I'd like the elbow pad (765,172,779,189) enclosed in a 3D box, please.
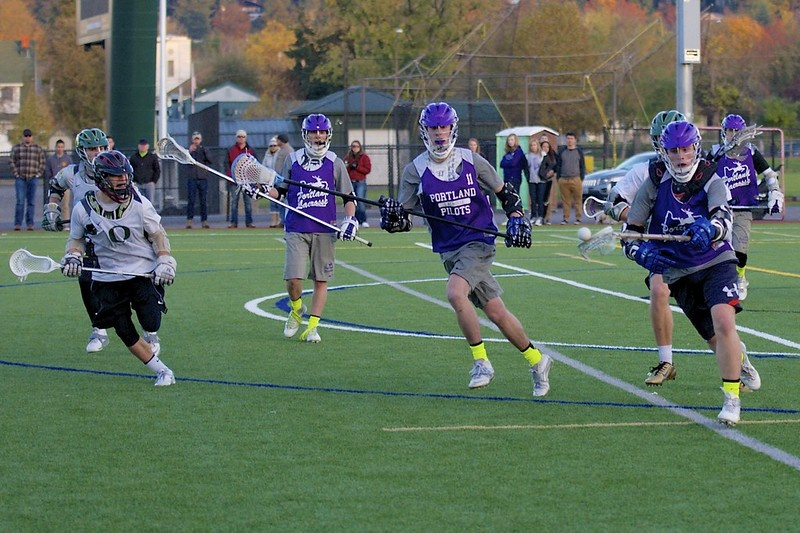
[{"bbox_3d":[4.638,-1.052,14.204,0.153,0.250,0.107,-18,-30,24],"label":"elbow pad"}]

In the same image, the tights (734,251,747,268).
[{"bbox_3d":[3.828,-0.086,12.828,0.145,0.200,0.073,17,-3,-9],"label":"tights"}]

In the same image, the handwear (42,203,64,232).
[{"bbox_3d":[-3.901,-0.559,12.835,0.270,0.402,0.189,-1,-27,-4],"label":"handwear"}]

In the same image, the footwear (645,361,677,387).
[{"bbox_3d":[2.470,1.027,10.787,0.141,0.170,0.386,-3,4,45],"label":"footwear"}]

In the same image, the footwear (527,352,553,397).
[{"bbox_3d":[1.335,1.012,10.627,0.218,0.366,0.211,-3,11,-15],"label":"footwear"}]

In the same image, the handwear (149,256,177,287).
[{"bbox_3d":[-2.225,0.055,10.760,0.188,0.308,0.120,8,-27,-30],"label":"handwear"}]

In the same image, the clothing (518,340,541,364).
[{"bbox_3d":[1.248,0.837,10.702,0.224,0.145,0.228,46,2,12],"label":"clothing"}]

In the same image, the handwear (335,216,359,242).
[{"bbox_3d":[-0.556,-0.394,12.247,0.164,0.113,0.265,4,38,-9],"label":"handwear"}]

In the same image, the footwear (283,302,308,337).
[{"bbox_3d":[-1.199,0.626,13.086,0.149,0.408,0.159,6,-42,13],"label":"footwear"}]

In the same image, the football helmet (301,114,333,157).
[{"bbox_3d":[-0.952,-1.500,13.113,0.351,0.455,0.474,-1,3,-5],"label":"football helmet"}]

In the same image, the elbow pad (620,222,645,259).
[{"bbox_3d":[2.092,-0.240,10.266,0.131,0.306,0.237,-11,-10,6],"label":"elbow pad"}]

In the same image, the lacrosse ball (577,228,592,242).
[{"bbox_3d":[1.655,-0.272,10.176,0.112,0.144,0.304,2,11,9],"label":"lacrosse ball"}]

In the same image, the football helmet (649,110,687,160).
[{"bbox_3d":[2.403,-1.242,10.456,0.363,0.437,0.459,0,-2,12],"label":"football helmet"}]

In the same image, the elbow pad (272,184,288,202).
[{"bbox_3d":[-1.354,-0.848,13.099,0.112,0.194,0.087,8,-7,-2],"label":"elbow pad"}]

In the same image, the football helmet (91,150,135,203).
[{"bbox_3d":[-2.687,-0.864,10.655,0.345,0.423,0.435,-14,18,-38],"label":"football helmet"}]

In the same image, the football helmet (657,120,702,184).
[{"bbox_3d":[2.470,-1.002,10.043,0.355,0.540,0.252,2,11,13],"label":"football helmet"}]

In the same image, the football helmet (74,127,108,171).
[{"bbox_3d":[-3.197,-1.235,11.981,0.353,0.431,0.450,-3,0,-36],"label":"football helmet"}]

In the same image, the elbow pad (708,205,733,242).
[{"bbox_3d":[2.790,-0.376,9.902,0.217,0.310,0.142,-3,-22,32],"label":"elbow pad"}]

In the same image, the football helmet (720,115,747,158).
[{"bbox_3d":[3.980,-1.550,13.600,0.300,0.409,0.413,10,-11,3],"label":"football helmet"}]

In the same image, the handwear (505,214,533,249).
[{"bbox_3d":[1.140,-0.331,10.928,0.255,0.302,0.130,-2,-25,5],"label":"handwear"}]

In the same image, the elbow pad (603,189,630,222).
[{"bbox_3d":[2.048,-0.549,10.712,0.177,0.119,0.286,26,0,-29],"label":"elbow pad"}]

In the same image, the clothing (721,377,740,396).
[{"bbox_3d":[2.847,1.042,9.844,0.153,0.147,0.144,1,0,29],"label":"clothing"}]

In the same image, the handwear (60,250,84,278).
[{"bbox_3d":[-3.089,-0.013,10.727,0.118,0.249,0.183,-11,-11,15],"label":"handwear"}]

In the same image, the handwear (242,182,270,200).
[{"bbox_3d":[-1.536,-0.810,12.254,0.224,0.082,0.169,16,0,-34],"label":"handwear"}]

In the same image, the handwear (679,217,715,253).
[{"bbox_3d":[2.603,-0.278,9.863,0.228,0.246,0.205,1,11,6],"label":"handwear"}]

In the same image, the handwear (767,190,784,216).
[{"bbox_3d":[4.596,-0.777,13.997,0.224,0.299,0.129,2,4,-14],"label":"handwear"}]

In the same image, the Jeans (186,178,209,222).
[{"bbox_3d":[-4.670,-1.551,26.261,0.489,1.085,0.312,0,13,-11],"label":"Jeans"}]

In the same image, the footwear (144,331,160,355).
[{"bbox_3d":[-2.520,0.787,11.564,0.107,0.278,0.191,-22,16,-16],"label":"footwear"}]

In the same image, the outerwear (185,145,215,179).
[{"bbox_3d":[-4.566,-2.307,25.564,0.673,0.804,0.853,-3,0,-39],"label":"outerwear"}]

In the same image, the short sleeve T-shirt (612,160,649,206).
[{"bbox_3d":[2.128,-0.836,10.858,0.232,0.427,0.334,19,-22,12],"label":"short sleeve T-shirt"}]

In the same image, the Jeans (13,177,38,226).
[{"bbox_3d":[-8.293,-1.460,25.299,0.481,1.315,0.296,-1,22,-27],"label":"Jeans"}]

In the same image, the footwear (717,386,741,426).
[{"bbox_3d":[2.870,1.210,9.788,0.301,0.277,0.147,-9,14,-37],"label":"footwear"}]
